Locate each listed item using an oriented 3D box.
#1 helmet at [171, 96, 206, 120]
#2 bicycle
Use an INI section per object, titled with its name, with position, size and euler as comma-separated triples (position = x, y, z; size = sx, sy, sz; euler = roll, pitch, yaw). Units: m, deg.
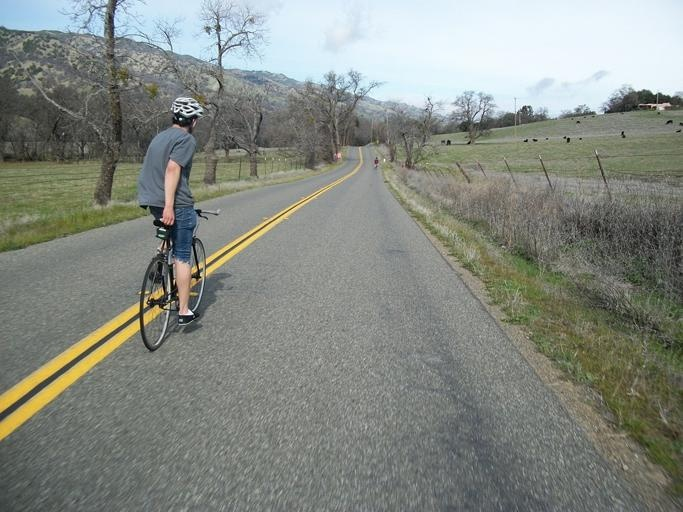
[helmet]
position = -1.910, -1.796, 5.575
size = 0.340, 0.254, 0.316
euler = -3, 39, -2
[bicycle]
position = -2.239, 0.190, 5.884
size = 0.858, 1.411, 2.137
euler = 6, 11, -12
